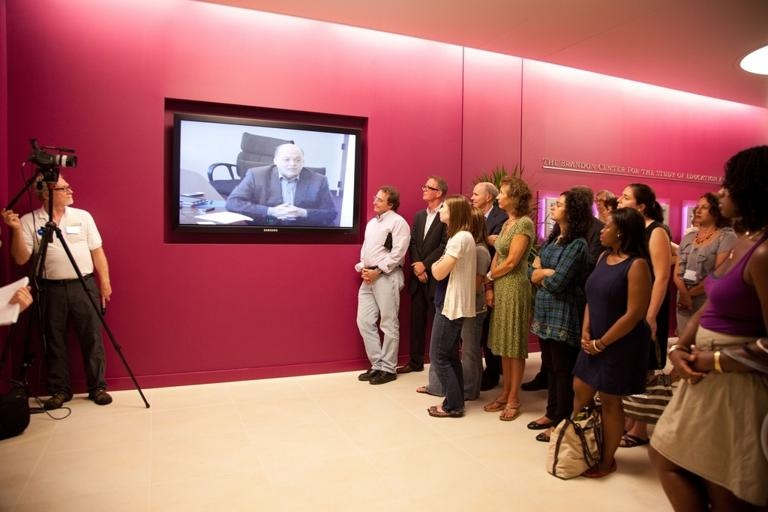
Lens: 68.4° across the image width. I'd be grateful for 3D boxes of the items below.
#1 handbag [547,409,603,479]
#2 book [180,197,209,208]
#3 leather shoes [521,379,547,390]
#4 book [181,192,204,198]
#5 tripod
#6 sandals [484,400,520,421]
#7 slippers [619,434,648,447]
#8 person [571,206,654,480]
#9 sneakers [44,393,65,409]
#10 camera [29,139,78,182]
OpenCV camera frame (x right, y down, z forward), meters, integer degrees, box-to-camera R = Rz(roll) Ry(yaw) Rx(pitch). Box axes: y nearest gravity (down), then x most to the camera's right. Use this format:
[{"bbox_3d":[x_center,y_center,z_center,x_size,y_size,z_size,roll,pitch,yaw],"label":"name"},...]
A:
[{"bbox_3d":[1.570,1.546,4.610,0.481,0.426,0.271,-3,16,-34],"label":"handbag"},{"bbox_3d":[-2.084,-0.609,6.197,0.287,0.107,0.041,-5,14,-24],"label":"book"},{"bbox_3d":[1.661,1.415,6.326,0.324,0.147,0.114,1,1,-9],"label":"leather shoes"},{"bbox_3d":[-2.087,-0.681,6.194,0.218,0.057,0.025,-2,13,-13],"label":"book"},{"bbox_3d":[-3.221,0.352,5.652,0.857,2.251,0.847,-3,13,-16],"label":"tripod"},{"bbox_3d":[1.212,1.503,5.627,0.231,0.069,0.189,3,0,-44],"label":"sandals"},{"bbox_3d":[2.249,1.642,5.125,0.313,0.082,0.119,-1,2,-17],"label":"slippers"},{"bbox_3d":[1.843,0.710,4.561,0.535,2.161,0.479,7,14,26],"label":"person"},{"bbox_3d":[-3.253,1.435,5.600,0.198,0.105,0.148,-7,15,-32],"label":"sneakers"},{"bbox_3d":[-3.084,-0.888,5.244,0.375,0.345,0.207,4,10,-12],"label":"camera"}]
